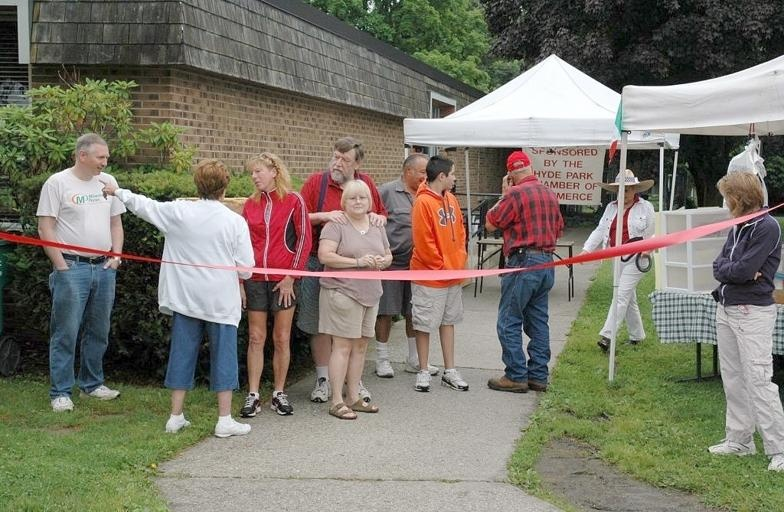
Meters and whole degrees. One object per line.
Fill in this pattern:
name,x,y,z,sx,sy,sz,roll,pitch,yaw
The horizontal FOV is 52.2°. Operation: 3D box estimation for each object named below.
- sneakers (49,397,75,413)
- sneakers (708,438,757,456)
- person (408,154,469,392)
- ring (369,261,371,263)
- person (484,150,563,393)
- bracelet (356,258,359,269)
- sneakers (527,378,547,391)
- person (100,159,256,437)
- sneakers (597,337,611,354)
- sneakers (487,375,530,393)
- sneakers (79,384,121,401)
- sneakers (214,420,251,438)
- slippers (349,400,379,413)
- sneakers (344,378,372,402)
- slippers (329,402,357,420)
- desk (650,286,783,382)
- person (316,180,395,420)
sneakers,-3.239,1.442,7.900,0.201,0.132,0.205,-5,16,-23
sneakers,3.027,1.700,7.159,0.406,0.160,0.155,3,-3,5
person,0.514,0.211,8.550,0.673,2.510,0.810,3,15,6
ring,-0.207,0.044,7.737,0.030,0.024,0.007,-1,1,-17
person,1.412,0.175,8.673,0.792,2.512,1.053,3,16,9
bracelet,-0.323,0.059,7.748,0.031,0.083,0.062,1,15,-2
sneakers,1.598,1.403,8.772,0.239,0.103,0.091,7,4,18
person,-1.786,0.381,7.428,1.028,2.508,0.775,-1,16,-9
sneakers,2.631,1.099,9.910,0.129,0.140,0.330,-3,-17,13
sneakers,1.271,1.399,8.688,0.405,0.262,0.170,6,3,18
sneakers,-3.024,1.405,8.293,0.416,0.154,0.149,0,0,1
sneakers,-1.461,1.590,7.496,0.362,0.149,0.140,-1,5,-25
slippers,-0.271,1.517,8.121,0.331,0.106,0.113,1,6,3
sneakers,-0.337,1.433,8.510,0.153,0.174,0.423,1,-6,-21
slippers,-0.468,1.519,7.916,0.147,0.092,0.255,-1,1,-38
desk,3.317,0.892,8.675,1.186,0.691,1.173,0,2,30
person,-0.382,0.428,7.932,0.624,2.342,0.749,9,17,26
